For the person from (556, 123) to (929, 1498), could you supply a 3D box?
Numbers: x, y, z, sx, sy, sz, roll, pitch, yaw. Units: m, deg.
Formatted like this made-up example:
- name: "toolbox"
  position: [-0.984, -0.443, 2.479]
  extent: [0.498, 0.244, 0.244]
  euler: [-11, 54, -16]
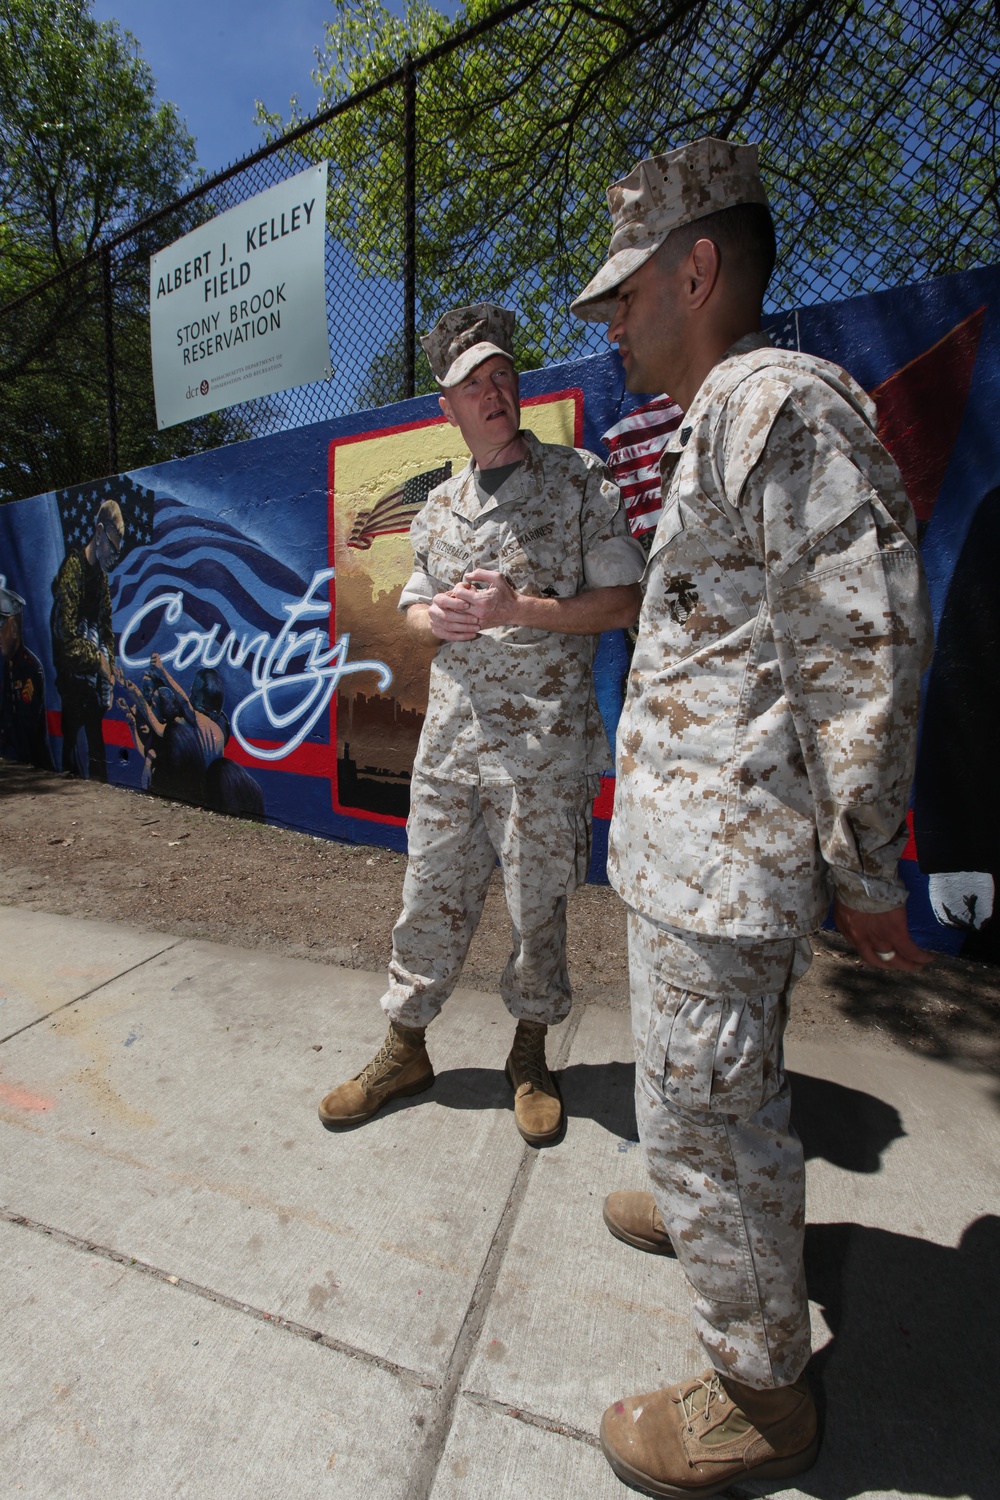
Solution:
- name: "person"
  position: [0.357, 0.109, 1.688]
  extent: [0.420, 2.079, 0.534]
  euler: [-1, 9, -3]

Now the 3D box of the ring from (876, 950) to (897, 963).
- name: "ring"
  position: [0.543, 0.291, 1.517]
  extent: [0.019, 0.005, 0.018]
  euler: [-4, 0, 0]

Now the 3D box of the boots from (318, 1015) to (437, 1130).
- name: "boots"
  position: [-0.301, 0.765, 2.589]
  extent: [0.320, 0.186, 0.130]
  euler: [-6, 8, -40]

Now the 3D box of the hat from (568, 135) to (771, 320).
- name: "hat"
  position: [0.264, -0.848, 1.716]
  extent: [0.314, 0.123, 0.215]
  euler: [-30, 11, 17]
